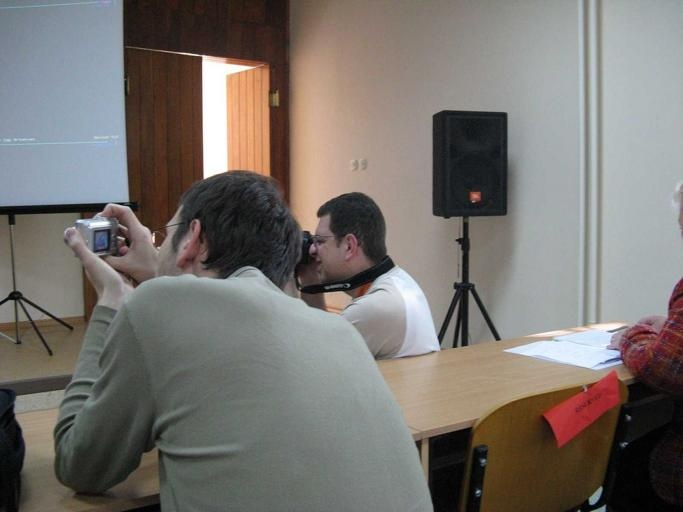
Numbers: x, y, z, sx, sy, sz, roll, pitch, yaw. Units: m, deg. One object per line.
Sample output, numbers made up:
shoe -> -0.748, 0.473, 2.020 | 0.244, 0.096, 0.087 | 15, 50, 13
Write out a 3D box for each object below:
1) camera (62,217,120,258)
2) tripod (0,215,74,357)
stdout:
camera -> -0.649, -0.045, 1.470 | 0.079, 0.144, 0.135 | -2, 2, 36
tripod -> -2.188, 0.214, 3.972 | 0.509, 0.901, 0.525 | -10, 42, -22
